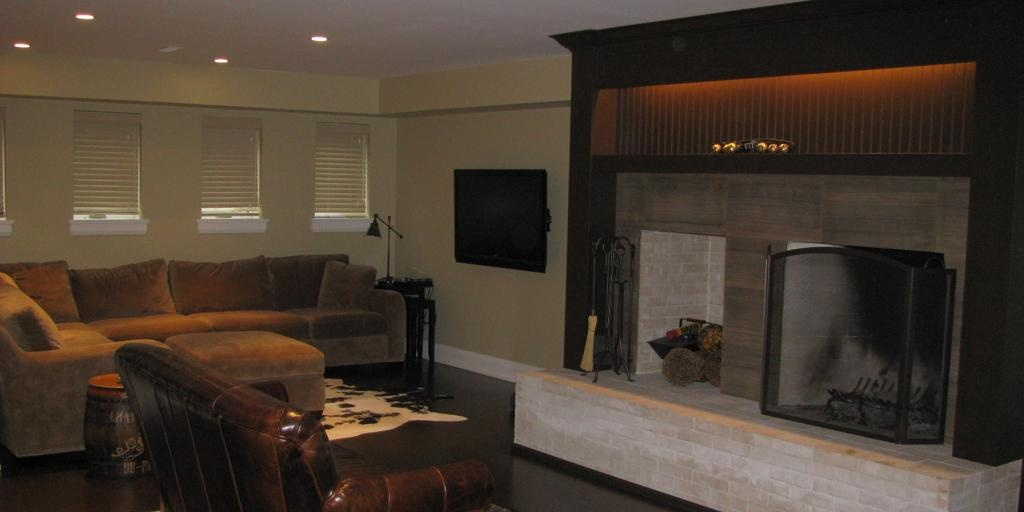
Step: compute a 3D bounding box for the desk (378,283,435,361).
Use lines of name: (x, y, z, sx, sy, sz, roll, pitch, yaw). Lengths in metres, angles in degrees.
desk: (-1.352, 0.871, 9.546, 0.743, 0.879, 0.765, -6, -1, 29)
